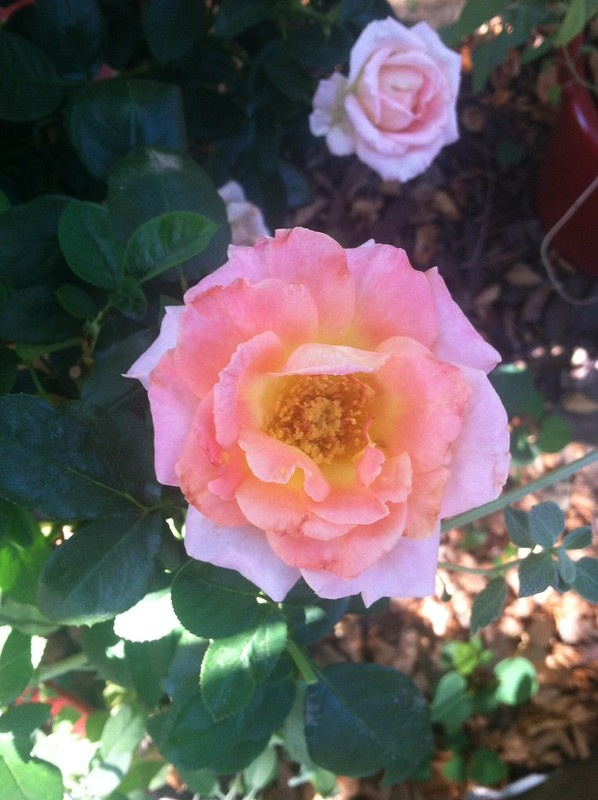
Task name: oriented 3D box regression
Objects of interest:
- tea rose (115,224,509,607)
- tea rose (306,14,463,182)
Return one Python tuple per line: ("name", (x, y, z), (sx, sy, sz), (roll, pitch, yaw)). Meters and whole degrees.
("tea rose", (0.036, 0.023, 0.729), (0.347, 0.186, 0.353), (-15, 78, 0))
("tea rose", (0.117, -0.370, 0.945), (0.170, 0.155, 0.149), (-43, 80, -5))
